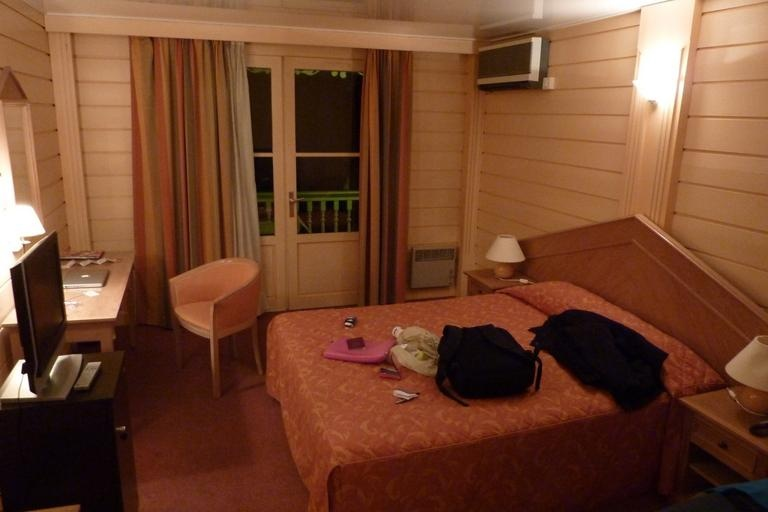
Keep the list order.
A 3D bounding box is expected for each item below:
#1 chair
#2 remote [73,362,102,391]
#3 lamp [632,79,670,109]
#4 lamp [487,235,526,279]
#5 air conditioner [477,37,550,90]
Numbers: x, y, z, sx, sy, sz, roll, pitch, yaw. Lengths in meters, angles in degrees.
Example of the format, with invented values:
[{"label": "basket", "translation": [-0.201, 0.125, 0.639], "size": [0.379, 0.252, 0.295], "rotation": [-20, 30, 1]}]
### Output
[{"label": "chair", "translation": [-1.418, 0.525, 4.809], "size": [0.769, 0.878, 0.659], "rotation": [16, 20, 41]}, {"label": "remote", "translation": [-1.688, 0.684, 3.171], "size": [0.100, 0.046, 0.228], "rotation": [3, 28, -3]}, {"label": "lamp", "translation": [1.938, -1.180, 4.025], "size": [0.219, 0.201, 0.059], "rotation": [24, 63, 33]}, {"label": "lamp", "translation": [1.070, -0.017, 5.177], "size": [0.410, 0.403, 0.396], "rotation": [0, 22, 5]}, {"label": "air conditioner", "translation": [1.254, -1.823, 5.337], "size": [0.302, 0.461, 0.914], "rotation": [-3, 15, -17]}]
